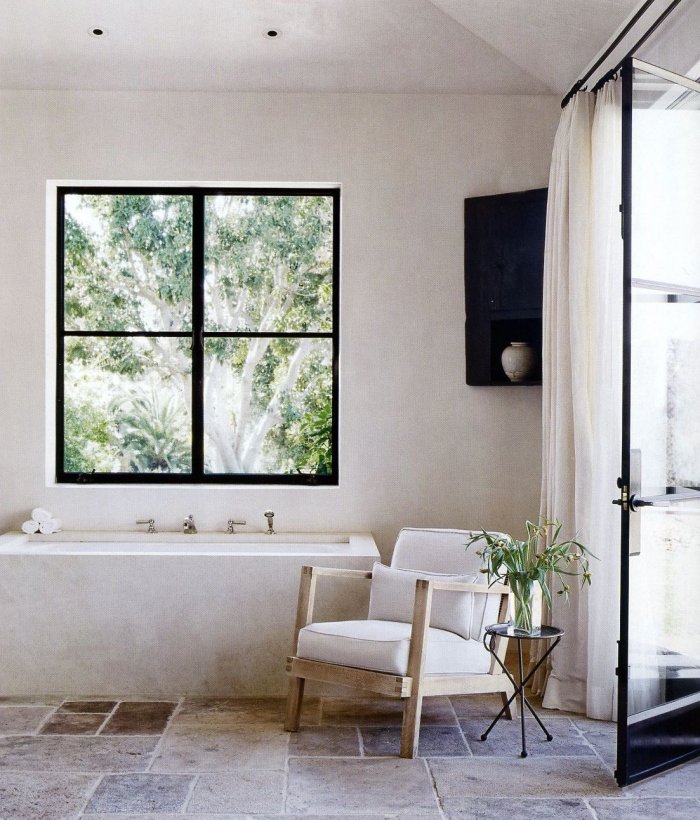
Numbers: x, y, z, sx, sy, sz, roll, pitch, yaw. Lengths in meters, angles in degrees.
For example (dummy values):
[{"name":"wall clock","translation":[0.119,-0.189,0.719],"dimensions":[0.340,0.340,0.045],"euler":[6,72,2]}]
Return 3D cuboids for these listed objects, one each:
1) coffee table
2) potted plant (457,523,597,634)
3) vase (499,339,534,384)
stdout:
[{"name":"coffee table","translation":[0.675,1.100,3.017],"dimensions":[0.282,0.423,0.304],"euler":[1,-13,11]},{"name":"potted plant","translation":[0.753,0.625,3.130],"dimensions":[0.427,0.379,0.471],"euler":[0,-4,0]},{"name":"vase","translation":[0.887,-0.264,4.038],"dimensions":[0.174,0.243,0.179],"euler":[-1,-1,32]}]
